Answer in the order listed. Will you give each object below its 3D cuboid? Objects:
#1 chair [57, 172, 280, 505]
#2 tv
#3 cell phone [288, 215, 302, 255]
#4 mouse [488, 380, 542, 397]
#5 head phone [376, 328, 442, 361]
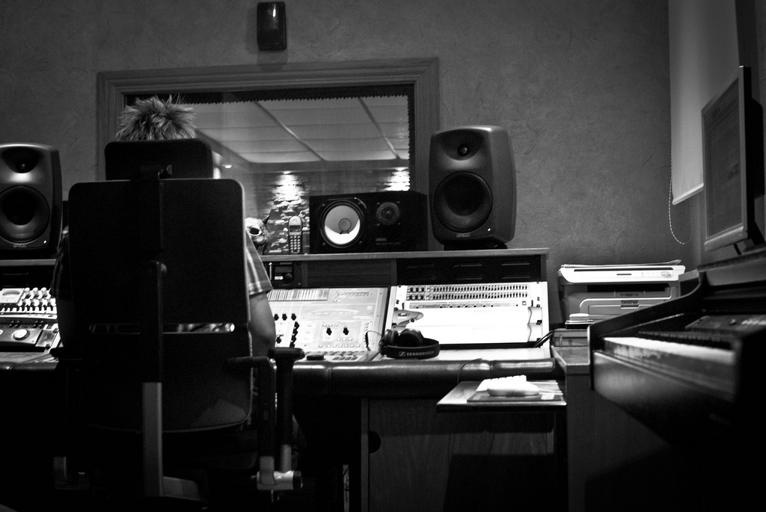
[{"bbox_3d":[-0.726,0.267,2.286,0.682,1.061,0.312,-1,-3,-21],"label":"chair"},{"bbox_3d":[1.157,-0.306,2.171,0.174,0.553,0.419,-2,-3,18],"label":"tv"},{"bbox_3d":[-0.462,-0.111,3.486,0.068,0.200,0.136,-1,-3,-9],"label":"cell phone"},{"bbox_3d":[0.420,0.427,2.134,0.168,0.037,0.095,-2,-2,0],"label":"mouse"},{"bbox_3d":[0.107,0.365,2.786,0.253,0.116,0.183,-2,-2,1],"label":"head phone"}]
